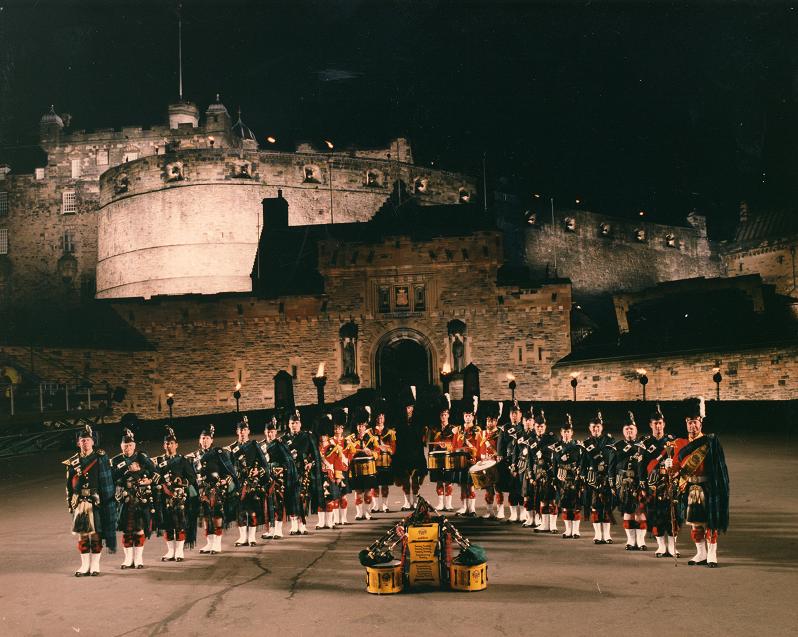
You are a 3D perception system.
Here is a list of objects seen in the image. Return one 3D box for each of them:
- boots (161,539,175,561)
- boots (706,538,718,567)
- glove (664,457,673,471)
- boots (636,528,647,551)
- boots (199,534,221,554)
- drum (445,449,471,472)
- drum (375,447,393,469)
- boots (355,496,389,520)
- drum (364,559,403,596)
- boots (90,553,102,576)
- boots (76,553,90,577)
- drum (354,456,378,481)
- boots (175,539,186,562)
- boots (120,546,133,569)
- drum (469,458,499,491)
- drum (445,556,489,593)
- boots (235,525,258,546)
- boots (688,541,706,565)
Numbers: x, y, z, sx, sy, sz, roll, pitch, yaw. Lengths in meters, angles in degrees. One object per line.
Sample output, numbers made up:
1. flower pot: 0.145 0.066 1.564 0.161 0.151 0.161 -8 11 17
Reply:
1. boots: -5.158 5.095 30.238 0.280 0.465 0.443 2 -5 -17
2. boots: 6.703 4.932 28.833 0.229 0.539 0.181 -1 -5 11
3. glove: 5.927 3.113 29.497 0.085 0.288 0.308 2 -5 -16
4. boots: 5.448 4.865 30.154 0.211 0.481 0.400 0 -5 8
5. boots: -4.189 5.070 30.774 0.469 0.410 0.470 0 -14 8
6. drum: 1.510 3.502 33.788 0.890 0.525 0.436 -1 -15 3
7. drum: -0.336 3.495 34.368 0.559 0.574 0.507 1 5 5
8. boots: -0.661 4.737 34.123 0.390 0.437 1.106 -4 -23 2
9. drum: -0.240 5.290 27.787 0.739 0.421 0.671 1 -8 -16
10. boots: -6.565 5.266 29.367 0.232 0.448 0.347 1 -5 -5
11. boots: -6.890 5.265 29.407 0.253 0.505 0.533 3 -5 -25
12. drum: -0.799 3.671 33.816 0.569 0.380 0.518 -1 4 0
13. boots: -4.822 5.102 30.099 0.221 0.467 0.316 -3 -6 35
14. boots: -5.954 5.175 29.714 0.249 0.482 0.395 2 -5 -22
15. drum: 2.060 3.742 32.559 0.755 0.468 0.699 -14 -3 -1
16. drum: 1.477 5.249 27.820 0.782 0.403 0.638 -1 -4 -2
17. boots: -3.510 5.013 31.394 0.445 0.421 0.477 4 -18 -9
18. boots: 6.466 4.965 29.090 0.379 0.477 0.454 -1 -5 10
